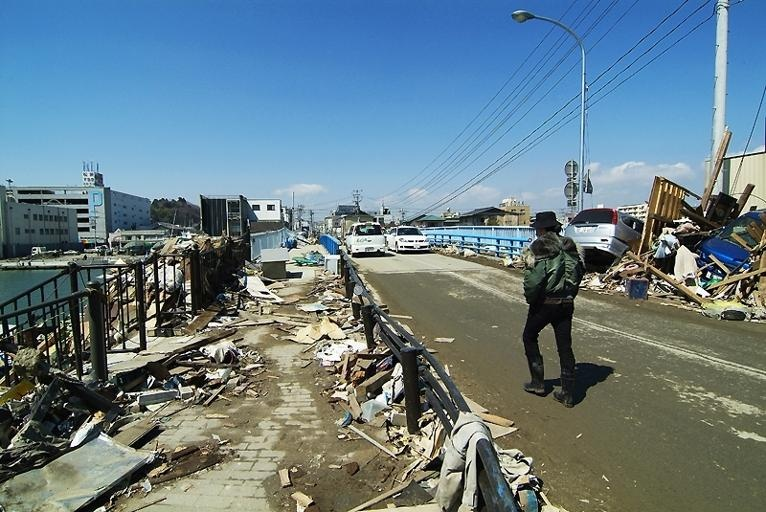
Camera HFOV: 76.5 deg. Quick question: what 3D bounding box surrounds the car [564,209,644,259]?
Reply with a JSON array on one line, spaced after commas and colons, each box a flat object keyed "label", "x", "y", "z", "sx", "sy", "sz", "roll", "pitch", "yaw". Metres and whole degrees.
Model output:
[{"label": "car", "x": 7.383, "y": -0.718, "z": 17.885, "sx": 1.826, "sy": 1.455, "sz": 4.166, "roll": 10, "pitch": 1, "yaw": 21}]

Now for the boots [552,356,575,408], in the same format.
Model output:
[{"label": "boots", "x": 2.764, "y": 1.858, "z": 7.376, "sx": 0.315, "sy": 0.758, "sz": 0.383, "roll": 0, "pitch": 7, "yaw": 15}]

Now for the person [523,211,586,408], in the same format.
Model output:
[{"label": "person", "x": 2.622, "y": 0.772, "z": 7.499, "sx": 0.846, "sy": 2.870, "sz": 0.769, "roll": 0, "pitch": 7, "yaw": 20}]

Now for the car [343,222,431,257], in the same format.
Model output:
[{"label": "car", "x": -0.041, "y": -0.933, "z": 27.188, "sx": 4.300, "sy": 1.841, "sz": 3.265, "roll": -6, "pitch": 8, "yaw": -31}]
